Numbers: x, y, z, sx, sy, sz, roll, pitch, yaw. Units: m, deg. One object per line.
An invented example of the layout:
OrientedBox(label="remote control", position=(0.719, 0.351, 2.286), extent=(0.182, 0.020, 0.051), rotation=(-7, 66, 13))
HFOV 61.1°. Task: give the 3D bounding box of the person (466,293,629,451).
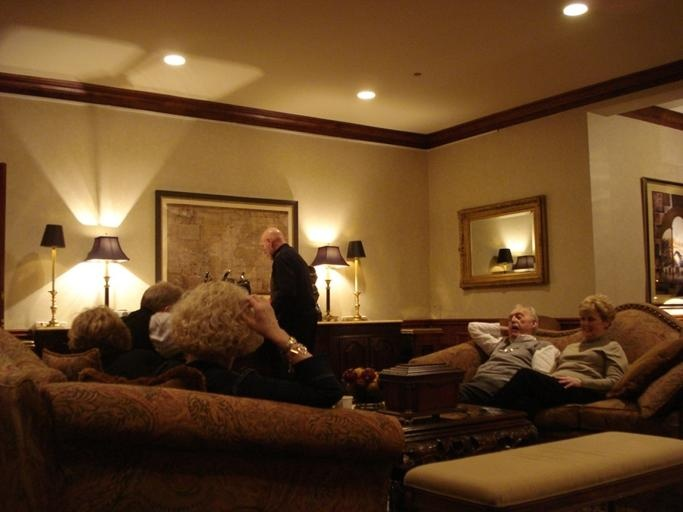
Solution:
OrientedBox(label="person", position=(1.397, 0.827, 3.855), extent=(0.958, 1.234, 0.623), rotation=(14, -9, -20))

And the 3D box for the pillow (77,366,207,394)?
OrientedBox(label="pillow", position=(-0.586, 0.370, 1.711), extent=(0.158, 0.055, 0.163), rotation=(6, -11, 3))

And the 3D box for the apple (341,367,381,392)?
OrientedBox(label="apple", position=(0.109, 0.679, 3.229), extent=(0.141, 0.096, 0.136), rotation=(6, 0, -3))

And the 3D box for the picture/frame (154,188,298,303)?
OrientedBox(label="picture/frame", position=(-1.193, -0.101, 6.075), extent=(1.424, 1.034, 0.070), rotation=(2, -12, -15))

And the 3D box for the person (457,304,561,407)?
OrientedBox(label="person", position=(1.222, 0.736, 4.138), extent=(0.442, 0.515, 0.818), rotation=(0, -18, 37))

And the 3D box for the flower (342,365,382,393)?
OrientedBox(label="flower", position=(0.113, 0.697, 3.236), extent=(0.142, 0.105, 0.136), rotation=(-2, -11, 10))

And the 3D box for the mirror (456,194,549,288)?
OrientedBox(label="mirror", position=(1.857, -0.166, 6.513), extent=(0.165, 0.876, 1.010), rotation=(4, -7, -41))

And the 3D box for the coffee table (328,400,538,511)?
OrientedBox(label="coffee table", position=(0.555, 0.907, 2.945), extent=(0.890, 0.210, 0.882), rotation=(2, -4, -34))
